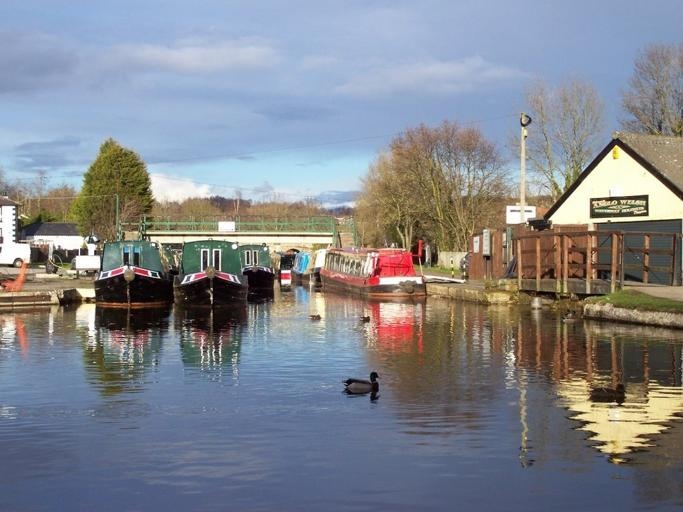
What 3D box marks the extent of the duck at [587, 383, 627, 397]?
[{"bbox_3d":[5.544,2.802,18.032,0.507,0.199,0.367,-2,-3,6],"label":"duck"}]
